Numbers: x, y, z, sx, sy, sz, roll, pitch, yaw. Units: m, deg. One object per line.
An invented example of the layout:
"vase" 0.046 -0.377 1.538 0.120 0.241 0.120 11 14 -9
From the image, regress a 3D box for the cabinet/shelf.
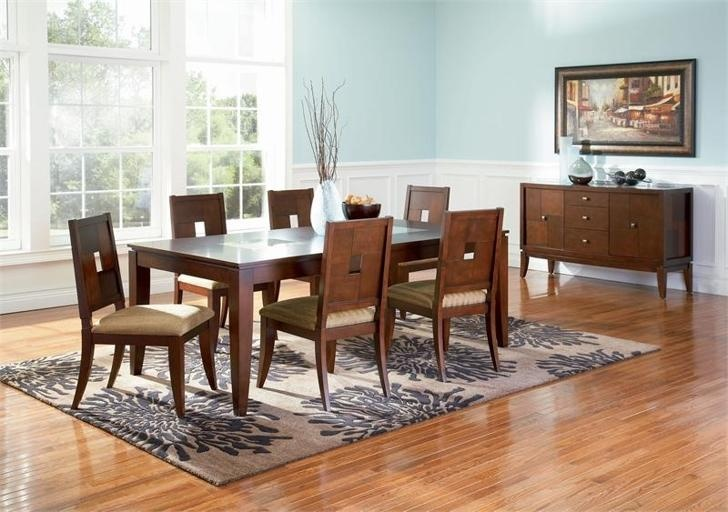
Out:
"cabinet/shelf" 2.787 -0.259 6.343 0.619 0.998 1.848 -8 11 -30

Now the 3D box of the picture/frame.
"picture/frame" 2.999 -1.694 6.264 1.993 0.999 0.059 -7 10 -17

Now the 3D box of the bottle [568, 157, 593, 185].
"bottle" 2.477 -0.965 6.159 0.330 0.336 0.311 2 8 25
